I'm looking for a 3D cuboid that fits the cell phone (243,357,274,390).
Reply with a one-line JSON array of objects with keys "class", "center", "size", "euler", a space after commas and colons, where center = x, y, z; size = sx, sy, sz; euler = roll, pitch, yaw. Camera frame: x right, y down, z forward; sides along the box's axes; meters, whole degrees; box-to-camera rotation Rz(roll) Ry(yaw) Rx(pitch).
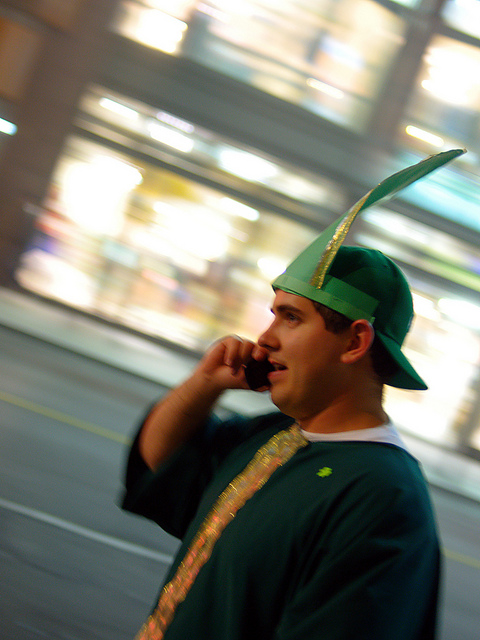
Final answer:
[{"class": "cell phone", "center": [0.059, 0.173, 2.906], "size": [0.131, 0.094, 0.029], "euler": [-21, -7, 6]}]
